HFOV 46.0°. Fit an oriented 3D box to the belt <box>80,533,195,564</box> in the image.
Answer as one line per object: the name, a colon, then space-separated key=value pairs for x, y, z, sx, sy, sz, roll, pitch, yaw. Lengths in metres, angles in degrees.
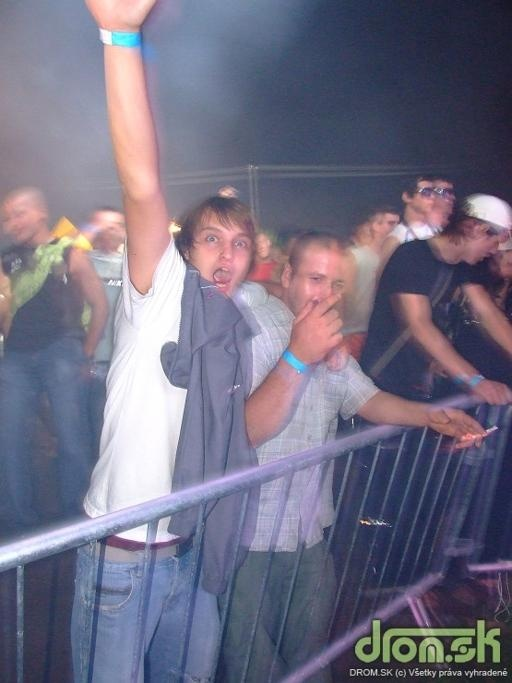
belt: x=-0.328 y=0.546 z=1.597 sx=0.230 sy=0.049 sz=0.214 roll=4 pitch=-1 yaw=-2

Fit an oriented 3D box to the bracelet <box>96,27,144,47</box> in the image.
bracelet: x=-0.321 y=-0.719 z=1.428 sx=0.097 sy=0.038 sz=0.099 roll=-4 pitch=28 yaw=-11
